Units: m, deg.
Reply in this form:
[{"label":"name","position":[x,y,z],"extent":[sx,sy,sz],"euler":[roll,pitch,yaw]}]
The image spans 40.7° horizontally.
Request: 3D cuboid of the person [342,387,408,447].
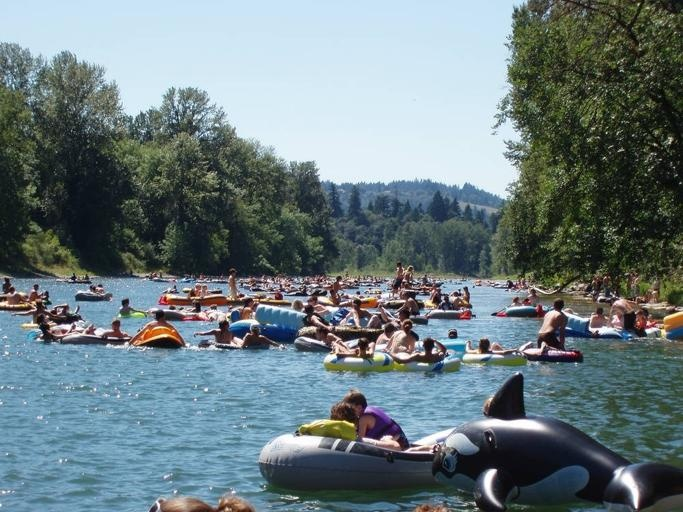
[{"label":"person","position":[0.668,3.354,18.745],"extent":[0.997,1.243,1.314],"euler":[0,0,15]}]
